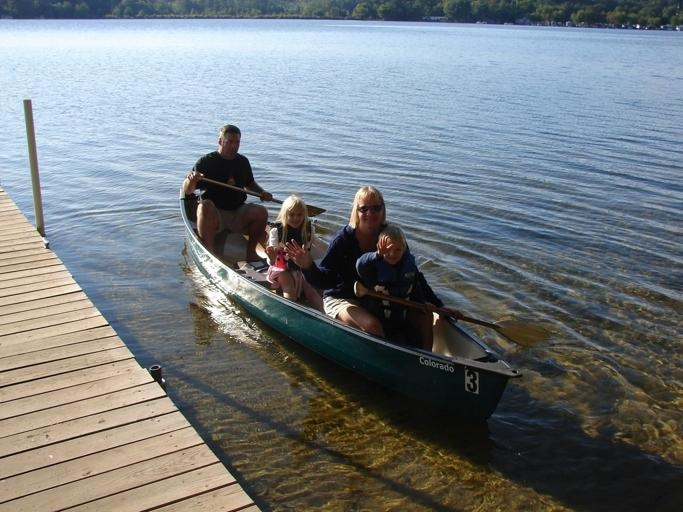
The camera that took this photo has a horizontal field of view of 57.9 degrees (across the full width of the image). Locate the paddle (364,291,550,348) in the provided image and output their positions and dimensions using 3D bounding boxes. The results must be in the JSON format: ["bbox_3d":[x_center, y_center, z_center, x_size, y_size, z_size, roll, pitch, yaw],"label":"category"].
[{"bbox_3d":[1.097,0.636,5.908,1.374,0.085,0.322,13,-15,17],"label":"paddle"}]

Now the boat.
[{"bbox_3d":[-0.364,0.327,6.555,1.276,0.887,5.742,-11,21,-37],"label":"boat"}]
